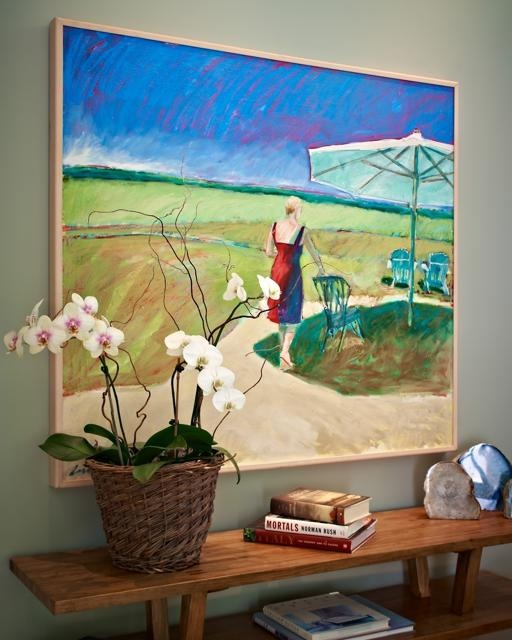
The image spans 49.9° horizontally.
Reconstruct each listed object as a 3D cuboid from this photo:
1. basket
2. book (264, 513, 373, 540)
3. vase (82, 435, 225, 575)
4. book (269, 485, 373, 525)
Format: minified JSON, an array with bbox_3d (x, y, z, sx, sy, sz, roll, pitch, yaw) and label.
[{"bbox_3d":[-0.179,0.289,0.923,0.216,0.147,0.199,0,-5,-18],"label":"basket"},{"bbox_3d":[0.109,0.387,1.031,0.087,0.013,0.082,2,-1,23],"label":"book"},{"bbox_3d":[-0.171,0.294,0.922,0.215,0.147,0.198,1,-6,-22],"label":"vase"},{"bbox_3d":[0.119,0.355,1.062,0.102,0.021,0.099,0,-1,31],"label":"book"}]
